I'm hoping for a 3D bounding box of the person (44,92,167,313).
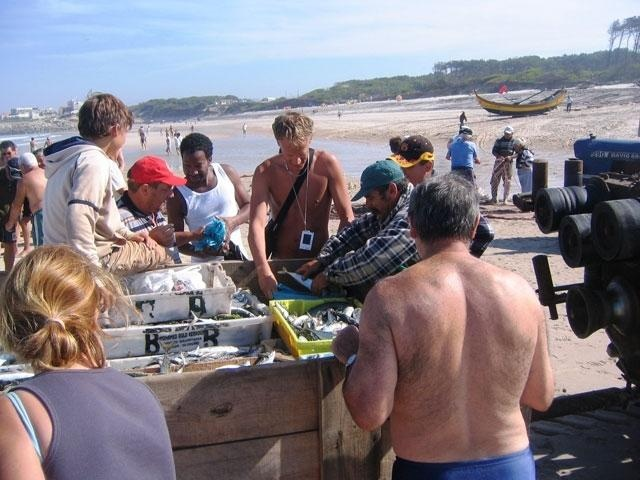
[{"bbox_3d":[-1.443,-0.349,4.194,0.740,1.285,0.886,3,4,7],"label":"person"}]

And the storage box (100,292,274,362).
[{"bbox_3d":[-0.788,0.575,3.843,0.707,0.171,0.437,-8,9,-16],"label":"storage box"}]

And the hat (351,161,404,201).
[{"bbox_3d":[0.395,-0.411,4.092,0.410,0.256,0.286,-17,2,15],"label":"hat"}]

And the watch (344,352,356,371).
[{"bbox_3d":[0.147,0.586,2.957,0.052,0.077,0.023,3,-18,35],"label":"watch"}]

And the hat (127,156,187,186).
[{"bbox_3d":[-1.206,-0.520,4.563,0.386,0.217,0.264,-3,11,-16],"label":"hat"}]

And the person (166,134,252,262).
[{"bbox_3d":[-1.015,-0.295,5.598,0.617,1.373,0.749,-7,5,10],"label":"person"}]

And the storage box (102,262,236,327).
[{"bbox_3d":[-0.924,0.313,3.930,0.529,0.164,0.422,-13,35,-12],"label":"storage box"}]

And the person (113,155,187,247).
[{"bbox_3d":[-1.326,-0.290,4.721,0.543,0.778,0.644,3,22,-15],"label":"person"}]

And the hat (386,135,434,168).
[{"bbox_3d":[0.758,-0.733,5.084,0.460,0.285,0.307,-3,10,-39],"label":"hat"}]

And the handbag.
[{"bbox_3d":[-0.317,-0.242,5.290,0.207,1.426,0.211,8,20,-19],"label":"handbag"}]
